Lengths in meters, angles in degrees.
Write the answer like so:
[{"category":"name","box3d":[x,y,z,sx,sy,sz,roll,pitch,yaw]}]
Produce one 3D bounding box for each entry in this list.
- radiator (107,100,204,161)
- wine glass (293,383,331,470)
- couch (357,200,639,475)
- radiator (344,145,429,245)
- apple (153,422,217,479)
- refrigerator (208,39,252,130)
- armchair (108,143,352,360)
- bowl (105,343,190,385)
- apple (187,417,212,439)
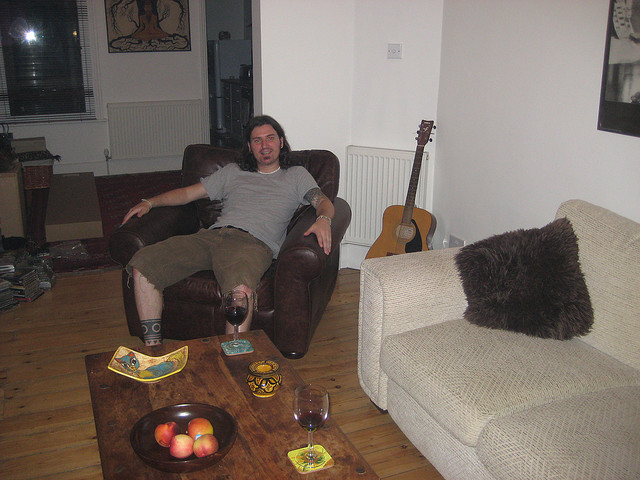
[{"category":"radiator","box3d":[-2.282,-1.500,6.569,1.345,0.883,0.137,-10,27,-22]},{"category":"wine glass","box3d":[-0.021,0.587,1.527,0.104,0.215,0.104,12,14,43]},{"category":"couch","box3d":[0.778,0.439,2.079,0.651,0.699,0.919,-11,31,-20]},{"category":"radiator","box3d":[0.504,-0.489,4.041,0.631,0.807,0.433,8,24,13]},{"category":"apple","box3d":[-0.408,0.641,1.499,0.140,0.080,0.150,10,-5,-6]},{"category":"refrigerator","box3d":[-1.450,-2.429,7.765,0.909,1.406,0.957,3,26,2]},{"category":"armchair","box3d":[-0.494,0.041,3.051,1.328,1.130,0.870,3,17,5]},{"category":"bowl","box3d":[-0.678,0.494,1.931,0.228,0.067,0.146,10,24,1]},{"category":"apple","box3d":[-0.383,0.597,1.552,0.052,0.054,0.053,2,7,-13]}]
